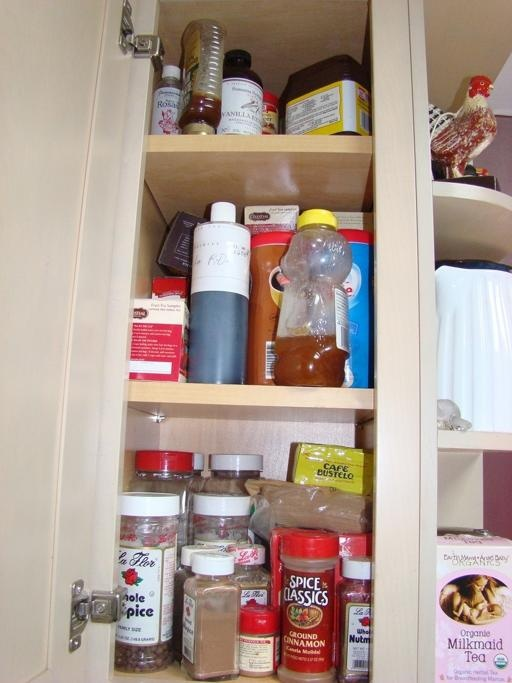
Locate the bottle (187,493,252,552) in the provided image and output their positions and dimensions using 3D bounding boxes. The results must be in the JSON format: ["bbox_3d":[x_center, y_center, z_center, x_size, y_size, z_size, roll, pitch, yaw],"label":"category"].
[{"bbox_3d":[-0.045,0.223,0.755,0.069,0.071,0.068,7,-8,-25],"label":"bottle"}]

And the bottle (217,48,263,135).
[{"bbox_3d":[-0.026,-0.332,0.816,0.072,0.122,0.071,1,1,0],"label":"bottle"}]

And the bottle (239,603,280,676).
[{"bbox_3d":[0.002,0.328,0.655,0.059,0.065,0.059,1,-16,-1],"label":"bottle"}]

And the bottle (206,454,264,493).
[{"bbox_3d":[-0.040,0.187,0.842,0.064,0.048,0.063,1,-15,0],"label":"bottle"}]
